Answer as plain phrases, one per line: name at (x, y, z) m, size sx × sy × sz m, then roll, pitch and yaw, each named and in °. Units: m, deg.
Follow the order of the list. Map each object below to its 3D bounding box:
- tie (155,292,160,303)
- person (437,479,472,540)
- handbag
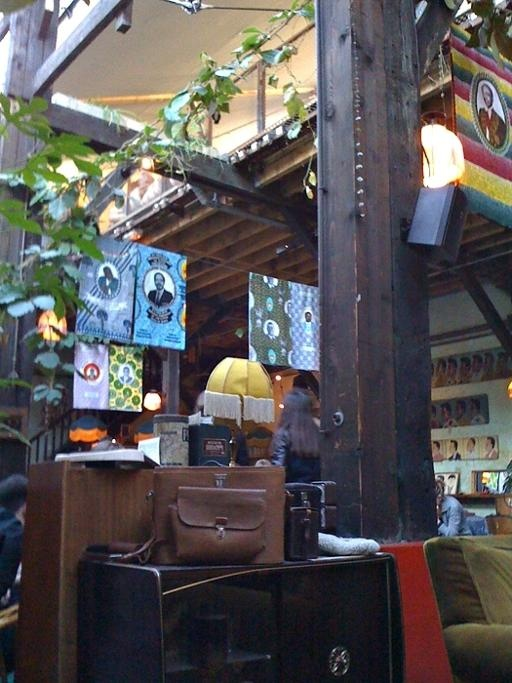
tie at (-1.014, -0.444, 6.528) m, size 0.015 × 0.127 × 0.064 m, roll -9°, pitch -12°, yaw 42°
person at (1.744, 1.478, 5.607) m, size 0.247 × 0.437 × 1.644 m, roll -4°, pitch -10°, yaw 15°
handbag at (-0.094, 0.479, 1.721) m, size 0.375 × 0.269 × 0.145 m, roll 1°, pitch -10°, yaw -10°
